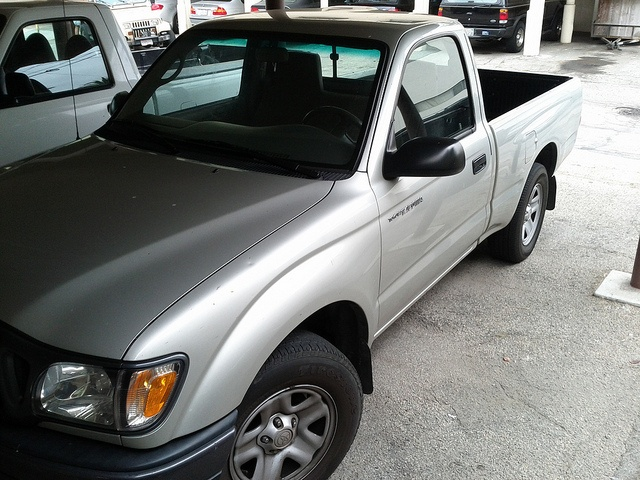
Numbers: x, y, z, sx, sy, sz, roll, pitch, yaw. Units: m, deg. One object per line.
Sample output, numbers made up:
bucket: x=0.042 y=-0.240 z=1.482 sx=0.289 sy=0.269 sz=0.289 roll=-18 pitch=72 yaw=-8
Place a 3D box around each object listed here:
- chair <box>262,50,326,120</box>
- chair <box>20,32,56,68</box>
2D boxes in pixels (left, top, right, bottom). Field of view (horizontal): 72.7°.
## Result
chair: x=-0.128 y=-0.998 z=2.750 sx=0.278 sy=0.567 sz=0.518 roll=4 pitch=29 yaw=2
chair: x=-2.698 y=-1.823 z=4.183 sx=0.210 sy=0.316 sz=0.297 roll=-2 pitch=32 yaw=-3
